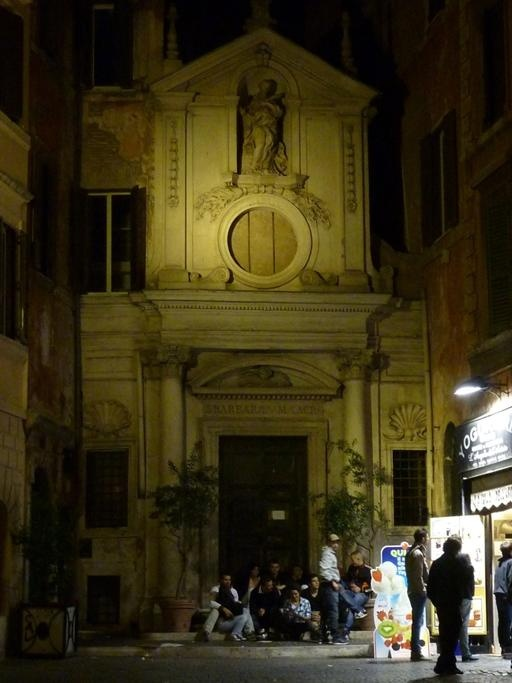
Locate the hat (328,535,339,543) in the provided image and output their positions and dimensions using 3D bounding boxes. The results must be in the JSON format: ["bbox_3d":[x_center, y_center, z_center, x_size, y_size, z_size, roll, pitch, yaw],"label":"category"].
[{"bbox_3d":[1.082,2.782,16.509,0.209,0.107,0.317,0,-7,-4],"label":"hat"}]

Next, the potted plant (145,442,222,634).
[{"bbox_3d":[-1.335,3.334,19.611,1.067,3.112,1.130,2,2,-13],"label":"potted plant"}]

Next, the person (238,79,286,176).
[{"bbox_3d":[0.121,-4.004,21.743,0.905,1.837,0.294,1,-13,-2],"label":"person"}]

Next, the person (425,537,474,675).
[{"bbox_3d":[1.908,2.593,11.558,0.428,1.340,0.617,-2,-14,9],"label":"person"}]
